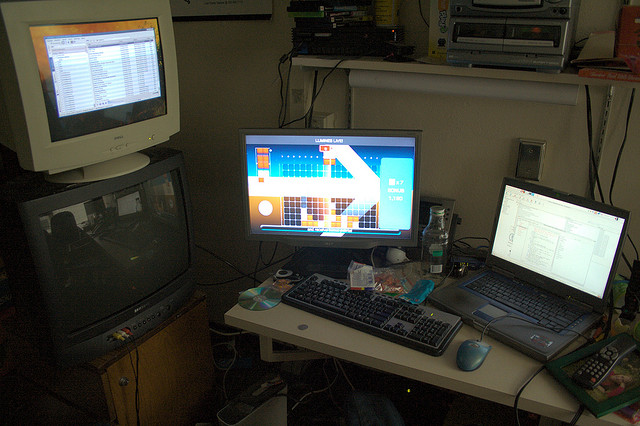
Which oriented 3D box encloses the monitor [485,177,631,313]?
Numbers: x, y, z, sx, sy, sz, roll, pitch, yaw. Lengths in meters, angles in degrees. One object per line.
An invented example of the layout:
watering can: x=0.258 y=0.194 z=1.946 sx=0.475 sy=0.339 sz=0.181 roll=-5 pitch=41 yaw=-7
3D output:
monitor: x=1.020 y=0.125 z=2.167 sx=0.664 sy=0.522 sz=0.189 roll=16 pitch=30 yaw=17

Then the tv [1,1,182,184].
tv: x=-0.964 y=-0.504 z=2.095 sx=0.346 sy=0.620 sz=0.654 roll=35 pitch=32 yaw=28

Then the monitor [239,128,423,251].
monitor: x=0.055 y=-0.108 z=2.442 sx=0.856 sy=0.593 sz=0.088 roll=1 pitch=15 yaw=4

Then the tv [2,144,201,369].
tv: x=-0.976 y=0.182 z=2.209 sx=0.452 sy=0.767 sz=0.804 roll=20 pitch=32 yaw=30

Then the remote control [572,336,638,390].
remote control: x=1.071 y=0.560 z=1.925 sx=0.299 sy=0.104 sz=0.077 roll=-14 pitch=26 yaw=-28

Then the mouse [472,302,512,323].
mouse: x=0.717 y=0.418 z=2.158 sx=0.082 sy=0.020 sz=0.084 roll=-18 pitch=32 yaw=-30
